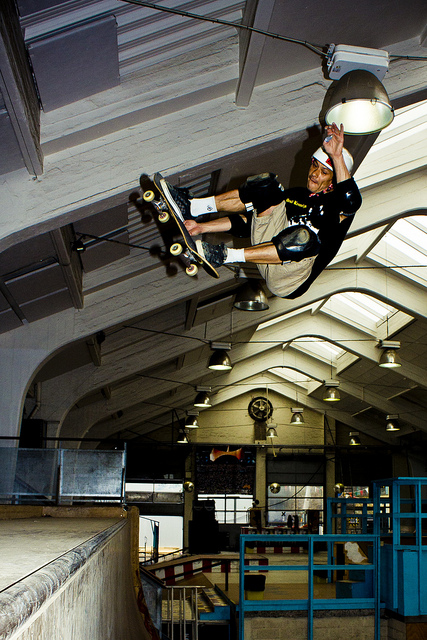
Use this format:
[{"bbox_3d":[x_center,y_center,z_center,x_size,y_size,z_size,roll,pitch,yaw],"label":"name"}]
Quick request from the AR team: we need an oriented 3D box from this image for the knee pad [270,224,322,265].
[{"bbox_3d":[0.413,-0.437,3.587,0.292,0.138,0.355,-12,3,-9],"label":"knee pad"}]

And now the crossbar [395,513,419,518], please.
[{"bbox_3d":[2.195,2.224,7.381,0.193,0.041,0.177,0,-6,1],"label":"crossbar"}]

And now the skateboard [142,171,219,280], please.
[{"bbox_3d":[-0.251,-0.575,3.628,0.168,0.846,0.231,-19,-30,-10],"label":"skateboard"}]

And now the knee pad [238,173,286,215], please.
[{"bbox_3d":[0.295,-0.695,3.773,0.253,0.233,0.119,-33,-22,6],"label":"knee pad"}]

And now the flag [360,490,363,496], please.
[{"bbox_3d":[5.448,6.384,23.916,0.168,0.083,0.161,10,19,16],"label":"flag"}]
